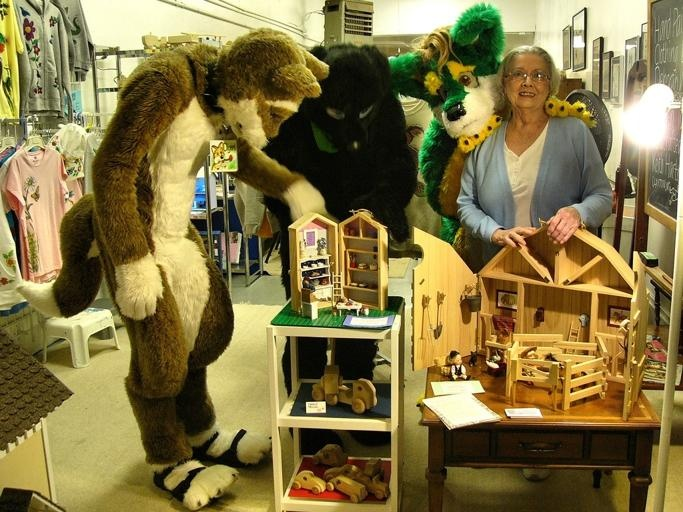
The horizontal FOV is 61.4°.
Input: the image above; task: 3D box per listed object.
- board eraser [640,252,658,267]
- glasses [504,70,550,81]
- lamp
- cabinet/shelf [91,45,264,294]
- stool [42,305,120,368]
[{"bbox_3d":[1.646,0.022,3.067,0.056,0.036,0.100,4,20,2],"label":"board eraser"},{"bbox_3d":[0.834,-0.796,2.554,0.183,0.045,0.052,1,9,9],"label":"glasses"},{"bbox_3d":[0.933,-0.427,1.717,0.126,0.181,0.179,4,10,29],"label":"lamp"},{"bbox_3d":[-0.728,-0.417,2.375,0.572,0.929,0.171,-5,9,-27],"label":"cabinet/shelf"},{"bbox_3d":[-1.802,0.516,4.048,0.449,0.302,0.455,3,9,22],"label":"stool"}]
